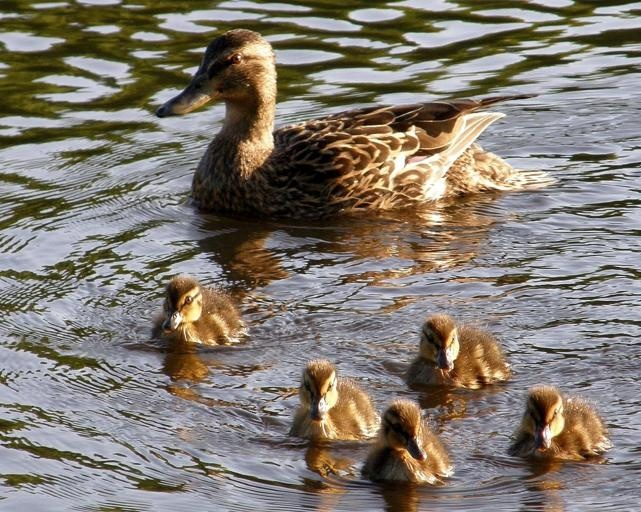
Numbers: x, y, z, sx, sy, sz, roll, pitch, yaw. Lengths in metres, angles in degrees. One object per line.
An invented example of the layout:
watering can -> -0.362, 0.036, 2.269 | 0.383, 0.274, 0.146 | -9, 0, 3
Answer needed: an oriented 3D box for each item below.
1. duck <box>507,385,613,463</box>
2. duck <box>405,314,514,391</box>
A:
duck -> 1.405, 0.965, 4.584 | 0.513, 0.264, 0.618 | 4, 11, 37
duck -> 0.743, 0.703, 5.524 | 0.857, 0.454, 0.898 | 1, 5, -8
